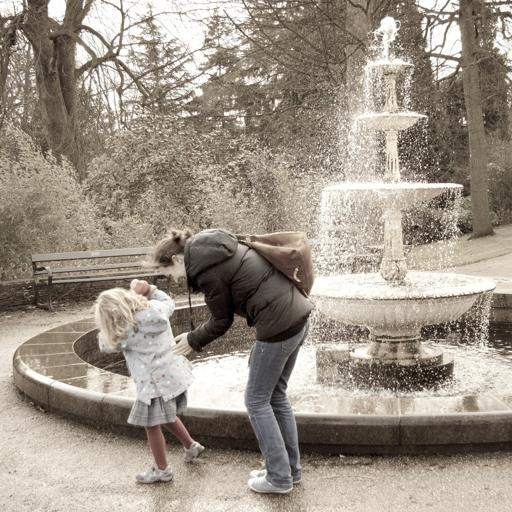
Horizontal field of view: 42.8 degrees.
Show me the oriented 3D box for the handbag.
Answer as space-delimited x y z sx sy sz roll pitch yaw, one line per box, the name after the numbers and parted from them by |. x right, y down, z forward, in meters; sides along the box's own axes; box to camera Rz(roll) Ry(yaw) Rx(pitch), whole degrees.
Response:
0.130 0.108 3.746 0.331 0.187 0.386 17 13 -5 | handbag

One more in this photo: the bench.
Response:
-2.569 0.361 10.737 2.079 0.945 0.558 -4 6 -27 | bench

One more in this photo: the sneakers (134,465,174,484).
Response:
-0.623 1.331 3.972 0.212 0.126 0.098 3 -3 1 | sneakers

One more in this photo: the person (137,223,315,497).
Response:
-0.082 0.611 3.712 0.838 1.540 0.356 -2 4 -11 | person
